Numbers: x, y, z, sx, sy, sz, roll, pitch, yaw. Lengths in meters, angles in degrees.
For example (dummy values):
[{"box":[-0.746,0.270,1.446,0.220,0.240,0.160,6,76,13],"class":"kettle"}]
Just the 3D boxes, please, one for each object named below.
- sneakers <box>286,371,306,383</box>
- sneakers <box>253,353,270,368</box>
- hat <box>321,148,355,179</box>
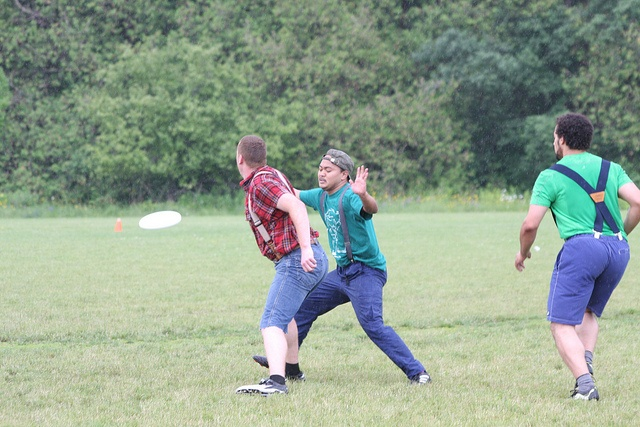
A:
[{"box":[-0.629,4.308,28.683,0.521,0.264,0.198,8,-9,-16],"class":"sneakers"},{"box":[-1.543,3.877,28.740,0.267,0.559,0.202,-32,-13,-15],"class":"sneakers"},{"box":[0.492,-1.360,28.740,0.768,0.667,0.602,25,1,-15],"class":"hat"}]
